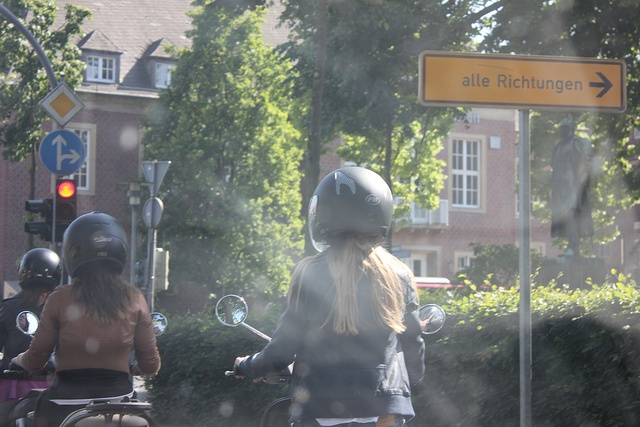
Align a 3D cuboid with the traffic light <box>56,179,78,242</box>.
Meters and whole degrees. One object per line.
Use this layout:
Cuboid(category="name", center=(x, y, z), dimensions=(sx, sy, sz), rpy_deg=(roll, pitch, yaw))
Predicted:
Cuboid(category="traffic light", center=(-7.021, -0.198, 42.838), dimensions=(0.611, 1.833, 0.593), rpy_deg=(1, -1, -10))
